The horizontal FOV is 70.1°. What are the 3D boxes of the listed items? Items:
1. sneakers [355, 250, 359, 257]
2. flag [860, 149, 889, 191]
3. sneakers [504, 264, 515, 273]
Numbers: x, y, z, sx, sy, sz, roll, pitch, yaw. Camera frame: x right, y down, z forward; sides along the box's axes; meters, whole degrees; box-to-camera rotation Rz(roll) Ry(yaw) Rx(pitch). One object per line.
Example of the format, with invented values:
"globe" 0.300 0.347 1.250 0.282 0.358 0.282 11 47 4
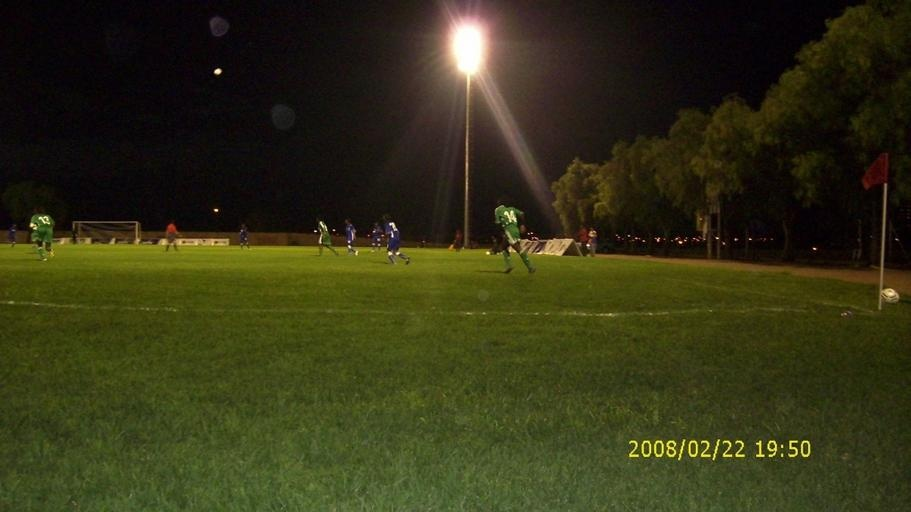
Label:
"sneakers" -6.724 -0.175 44.045 0.228 0.277 0.455 -2 26 -4
"flag" 11.631 -2.449 17.939 0.503 1.074 1.713 3 1 29
"sneakers" 2.158 0.513 26.045 0.136 0.282 0.276 -18 49 -26
